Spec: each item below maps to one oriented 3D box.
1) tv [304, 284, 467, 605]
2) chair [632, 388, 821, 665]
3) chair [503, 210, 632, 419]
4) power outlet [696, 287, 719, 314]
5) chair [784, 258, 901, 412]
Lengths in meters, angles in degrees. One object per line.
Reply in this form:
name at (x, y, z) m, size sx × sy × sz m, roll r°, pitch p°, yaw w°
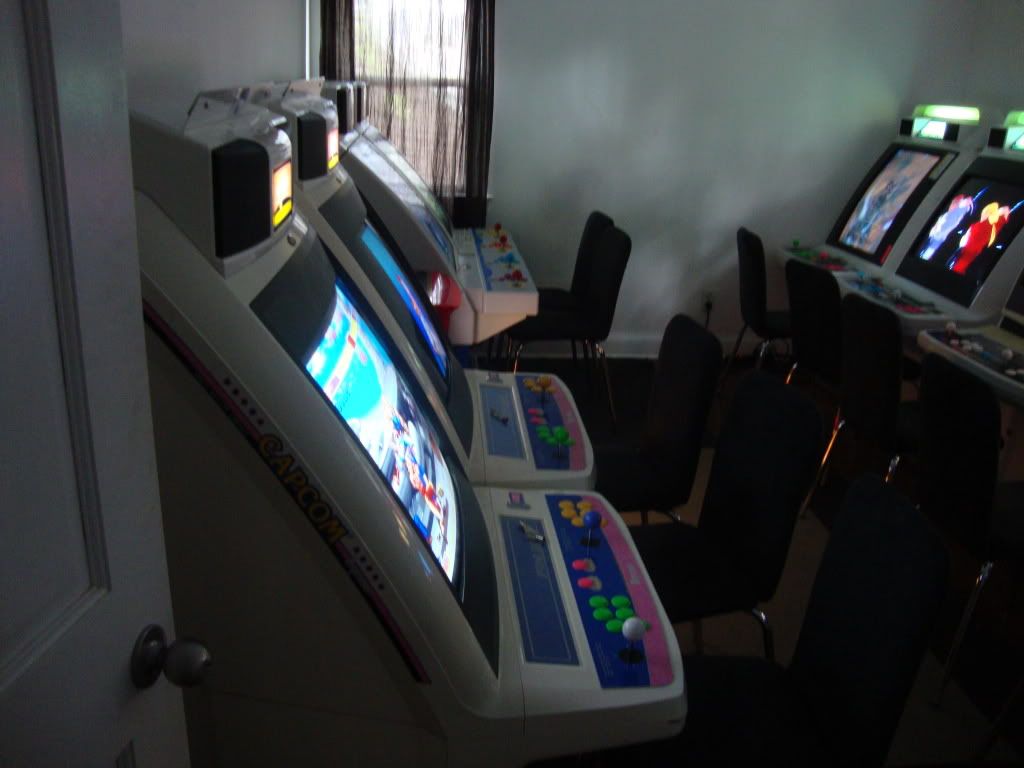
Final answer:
tv at (-0.210, 0.105, 1.268) m, size 0.230 × 0.258 × 0.449 m, roll -27°, pitch -3°, yaw 2°
chair at (0.530, 0.491, 1.930) m, size 0.312 × 0.543 × 0.331 m, roll -2°, pitch -8°, yaw 9°
chair at (0.213, -0.357, 3.716) m, size 0.568 × 0.921 × 0.617 m, roll -5°, pitch 24°, yaw -23°
power outlet at (1.112, -0.436, 4.451) m, size 0.105 × 0.139 × 0.232 m, roll 9°, pitch 31°, yaw 14°
chair at (1.337, -0.205, 3.120) m, size 0.353 × 0.685 × 0.381 m, roll -12°, pitch 32°, yaw -6°
